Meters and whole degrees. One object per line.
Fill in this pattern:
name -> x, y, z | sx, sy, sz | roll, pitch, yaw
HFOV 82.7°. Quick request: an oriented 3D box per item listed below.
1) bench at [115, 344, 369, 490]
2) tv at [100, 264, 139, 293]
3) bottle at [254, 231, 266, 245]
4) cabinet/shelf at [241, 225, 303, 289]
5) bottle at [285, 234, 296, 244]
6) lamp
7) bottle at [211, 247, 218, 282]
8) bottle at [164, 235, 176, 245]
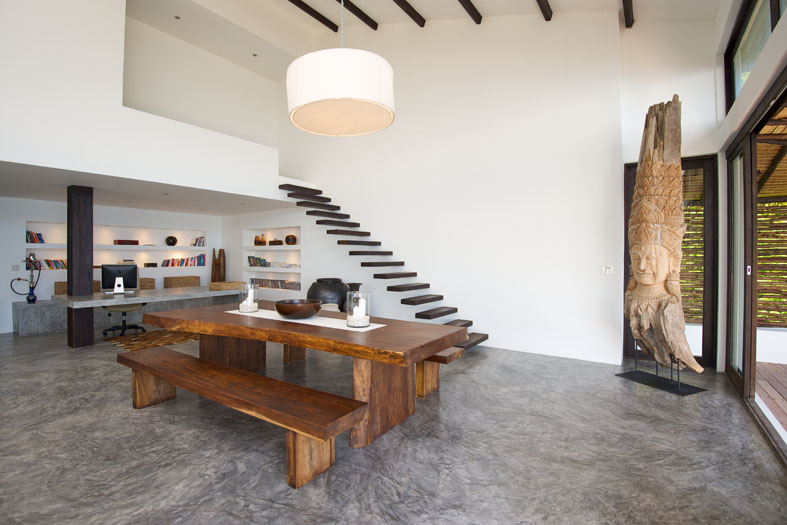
bench -> -1.734, 1.550, 4.702 | 3.017, 1.084, 0.661 | -1, 2, 31
tv -> -4.972, 0.292, 8.108 | 0.592, 0.461, 0.302 | 3, -2, -44
bottle -> -3.147, -0.577, 10.578 | 0.361, 0.293, 0.176 | -2, -4, 26
cabinet/shelf -> -2.695, -0.126, 10.127 | 1.752, 1.278, 0.466 | 0, 0, 34
bottle -> -2.265, -0.530, 9.968 | 0.241, 0.178, 0.237 | 0, 7, 0
lamp -> -0.773, -1.849, 4.690 | 1.093, 0.999, 1.030 | -1, -2, -31
bottle -> -4.450, 0.032, 11.159 | 0.183, 0.777, 0.362 | -3, 1, -21
bottle -> -5.204, -0.530, 10.482 | 0.231, 0.197, 0.226 | 6, 12, 7
